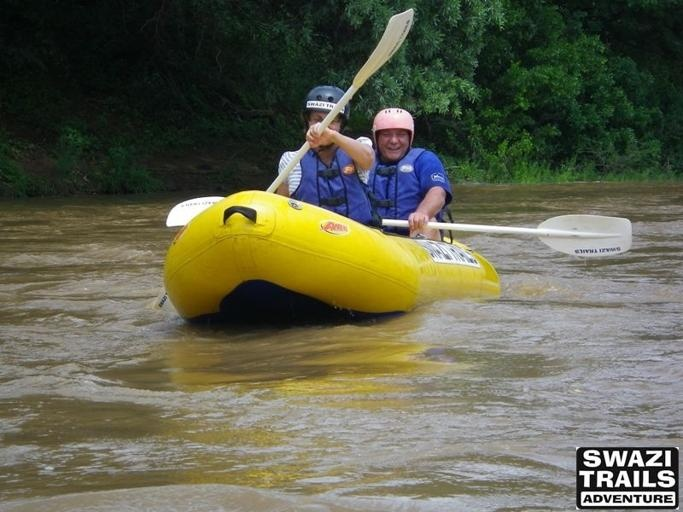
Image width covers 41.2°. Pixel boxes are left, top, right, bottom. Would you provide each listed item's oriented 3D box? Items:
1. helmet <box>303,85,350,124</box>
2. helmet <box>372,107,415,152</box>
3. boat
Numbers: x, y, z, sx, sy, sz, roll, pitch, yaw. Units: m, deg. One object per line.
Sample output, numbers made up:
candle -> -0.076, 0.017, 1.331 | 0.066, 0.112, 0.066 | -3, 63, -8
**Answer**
helmet -> -0.127, -1.020, 6.308 | 0.287, 0.273, 0.243 | 7, 47, 0
helmet -> 0.378, -1.032, 7.318 | 0.353, 0.259, 0.352 | 0, -11, 1
boat -> -0.032, 0.059, 5.907 | 1.016, 0.326, 1.848 | -4, -8, 32
